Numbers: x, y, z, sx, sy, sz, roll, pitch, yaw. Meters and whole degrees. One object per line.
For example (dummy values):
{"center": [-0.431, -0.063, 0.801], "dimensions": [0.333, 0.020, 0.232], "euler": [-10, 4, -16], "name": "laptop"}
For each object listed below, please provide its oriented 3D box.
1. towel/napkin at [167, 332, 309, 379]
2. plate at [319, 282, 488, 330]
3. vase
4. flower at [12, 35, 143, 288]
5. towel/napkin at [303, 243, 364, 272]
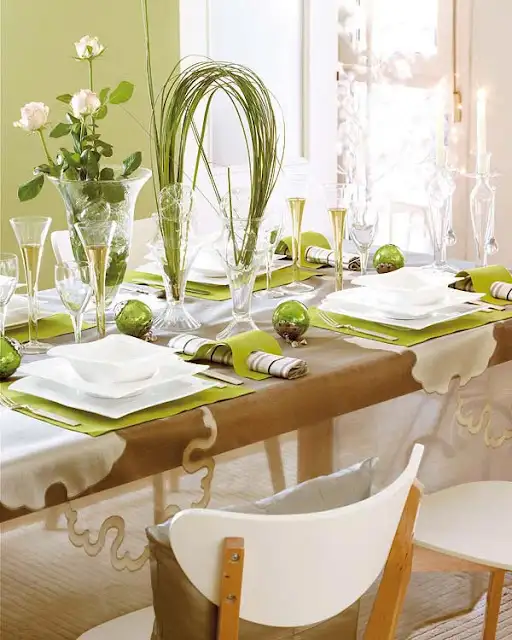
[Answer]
{"center": [-0.050, 0.032, 0.943], "dimensions": [0.267, 0.039, 0.076], "euler": [9, 6, 26], "name": "towel/napkin"}
{"center": [0.269, -0.023, 1.158], "dimensions": [0.166, 0.022, 0.166], "euler": [-17, 22, -41], "name": "plate"}
{"center": [-0.278, -0.149, 1.044], "dimensions": [0.235, 0.279, 0.237], "euler": [1, 11, -2], "name": "vase"}
{"center": [-0.328, -0.283, 1.132], "dimensions": [0.262, 0.462, 0.212], "euler": [-8, 18, -25], "name": "flower"}
{"center": [0.221, -0.178, 1.654], "dimensions": [0.104, 0.034, 0.089], "euler": [15, 17, 36], "name": "towel/napkin"}
